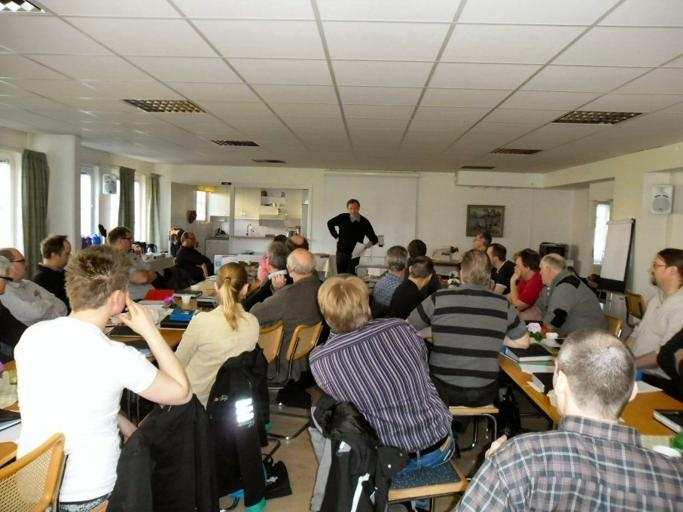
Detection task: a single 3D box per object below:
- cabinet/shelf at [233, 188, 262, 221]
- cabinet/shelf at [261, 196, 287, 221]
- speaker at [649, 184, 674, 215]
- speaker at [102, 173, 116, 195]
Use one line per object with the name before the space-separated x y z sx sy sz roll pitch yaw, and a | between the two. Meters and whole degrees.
cabinet/shelf | -2.420 -1.399 12.794 0.671 0.725 0.189 0 6 4
cabinet/shelf | -1.755 -1.254 12.800 0.775 0.605 0.635 -2 6 -14
speaker | 4.406 -0.777 6.785 0.292 0.421 0.206 0 6 8
speaker | -4.040 -1.262 8.605 0.249 0.338 0.416 -3 7 -24
